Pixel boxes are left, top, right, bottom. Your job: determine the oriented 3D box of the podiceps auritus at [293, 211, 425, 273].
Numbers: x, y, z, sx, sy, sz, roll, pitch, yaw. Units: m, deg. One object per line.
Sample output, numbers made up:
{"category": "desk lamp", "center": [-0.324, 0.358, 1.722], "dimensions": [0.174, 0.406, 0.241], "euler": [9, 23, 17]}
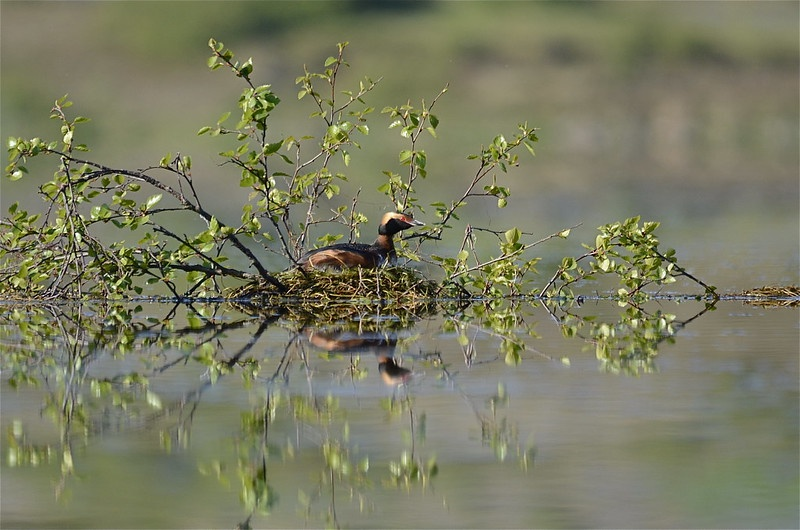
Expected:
{"category": "podiceps auritus", "center": [-0.755, -0.319, 13.382], "dimensions": [2.043, 1.167, 0.709], "euler": [0, 8, -20]}
